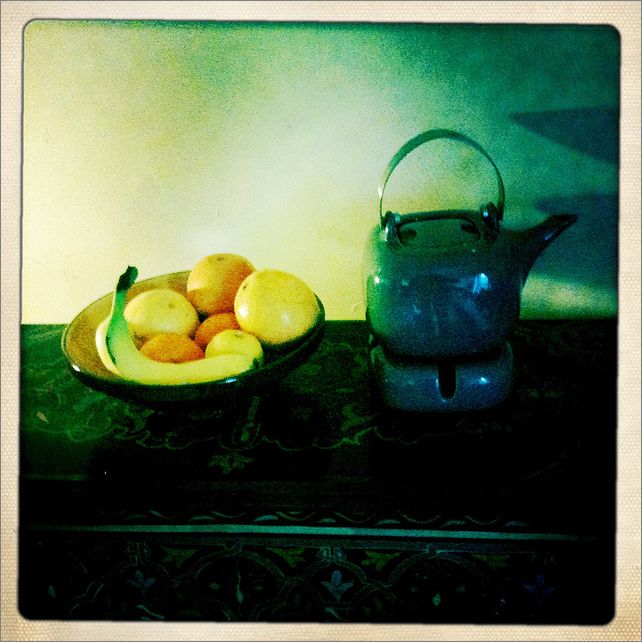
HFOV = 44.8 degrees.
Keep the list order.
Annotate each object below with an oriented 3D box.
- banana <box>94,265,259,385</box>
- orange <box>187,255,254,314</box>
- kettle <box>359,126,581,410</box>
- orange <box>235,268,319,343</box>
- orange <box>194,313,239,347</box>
[{"bbox_3d":[-0.153,0.034,0.941,0.189,0.133,0.045,1,-30,3],"label":"banana"},{"bbox_3d":[-0.128,-0.040,1.061,0.088,0.056,0.079,-20,27,-8],"label":"orange"},{"bbox_3d":[0.166,-0.071,1.067,0.333,0.371,0.217,-4,27,1],"label":"kettle"},{"bbox_3d":[-0.056,-0.021,0.974,0.110,0.073,0.083,5,18,26],"label":"orange"},{"bbox_3d":[-0.134,0.009,0.983,0.042,0.028,0.049,3,32,42],"label":"orange"}]
